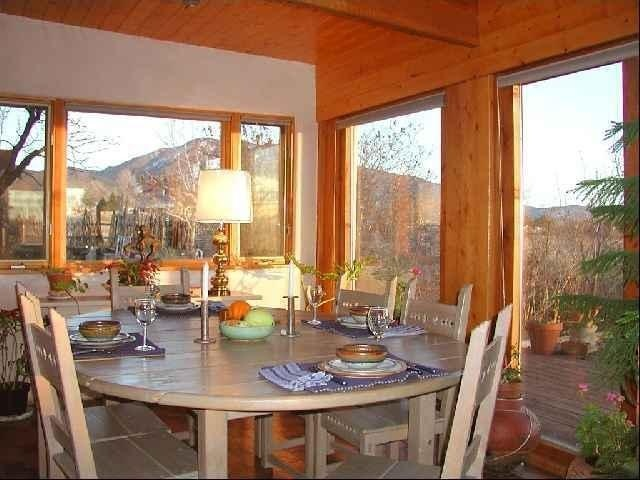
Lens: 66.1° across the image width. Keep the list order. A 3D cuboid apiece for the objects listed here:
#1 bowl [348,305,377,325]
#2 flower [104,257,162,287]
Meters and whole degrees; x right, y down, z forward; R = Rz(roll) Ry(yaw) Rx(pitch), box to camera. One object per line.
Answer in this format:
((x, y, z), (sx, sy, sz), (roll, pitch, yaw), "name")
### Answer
((0.208, 0.364, 2.423), (0.144, 0.064, 0.143), (1, -6, 0), "bowl")
((-1.636, 0.263, 4.343), (0.297, 0.145, 0.297), (0, -1, 42), "flower")
